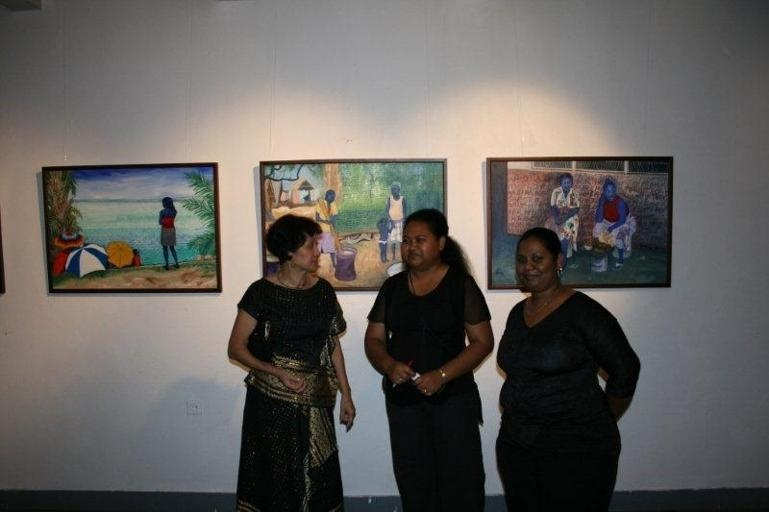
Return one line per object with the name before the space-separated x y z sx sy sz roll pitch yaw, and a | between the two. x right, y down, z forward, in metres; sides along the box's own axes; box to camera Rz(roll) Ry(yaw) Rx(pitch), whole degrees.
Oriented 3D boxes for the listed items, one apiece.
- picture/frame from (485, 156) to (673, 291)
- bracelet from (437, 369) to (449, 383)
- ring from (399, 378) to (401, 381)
picture/frame | 1.600 -0.270 5.259 1.499 1.050 0.047 0 -2 -5
bracelet | 0.423 0.844 4.542 0.059 0.068 0.025 -12 -22 -20
ring | 0.117 0.882 4.554 0.012 0.013 0.013 10 -21 4
